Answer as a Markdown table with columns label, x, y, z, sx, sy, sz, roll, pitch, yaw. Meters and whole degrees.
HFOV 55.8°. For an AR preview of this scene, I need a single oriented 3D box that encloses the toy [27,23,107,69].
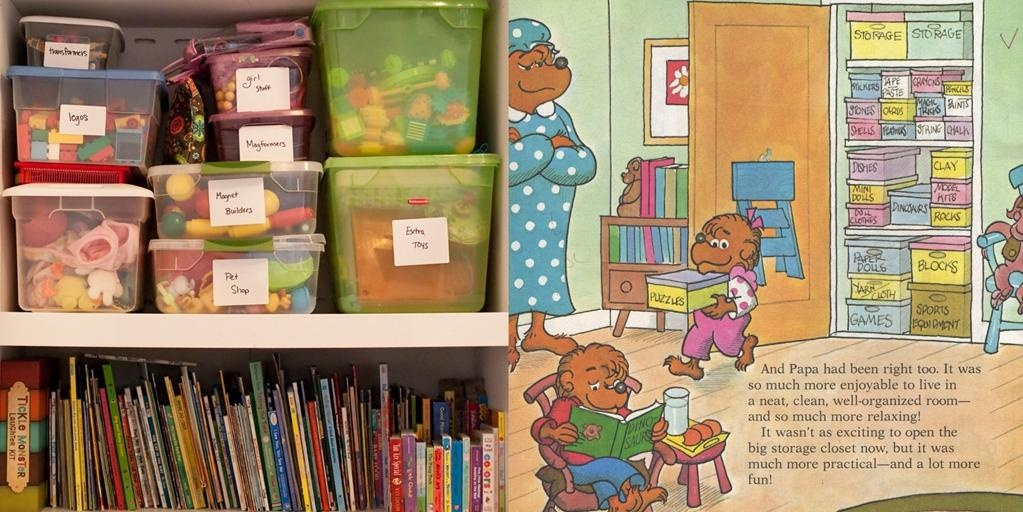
| label | x | y | z | sx | sy | sz | roll | pitch | yaw |
| --- | --- | --- | --- | --- | --- | --- | --- | --- | --- |
| toy | -1.579 | -0.758 | 3.408 | 0.300 | 0.125 | 0.181 | 0 | -8 | -8 |

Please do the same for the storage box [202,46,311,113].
| label | x | y | z | sx | sy | sz | roll | pitch | yaw |
| --- | --- | --- | --- | --- | --- | --- | --- | --- | --- |
| storage box | -0.906 | -0.633 | 3.511 | 0.355 | 0.138 | 0.238 | -3 | 3 | -2 |

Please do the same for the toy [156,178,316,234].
| label | x | y | z | sx | sy | sz | roll | pitch | yaw |
| --- | --- | --- | --- | --- | --- | --- | --- | --- | --- |
| toy | -0.979 | -0.163 | 3.440 | 0.388 | 0.114 | 0.252 | -1 | -2 | -6 |

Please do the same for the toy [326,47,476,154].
| label | x | y | z | sx | sy | sz | roll | pitch | yaw |
| --- | --- | --- | --- | --- | --- | --- | --- | --- | --- |
| toy | -0.411 | -0.555 | 3.514 | 0.568 | 0.305 | 0.345 | -2 | -2 | -4 |

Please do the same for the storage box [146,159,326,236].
| label | x | y | z | sx | sy | sz | roll | pitch | yaw |
| --- | --- | --- | --- | --- | --- | --- | --- | --- | --- |
| storage box | -0.968 | -0.199 | 3.443 | 0.468 | 0.158 | 0.317 | -2 | -2 | -8 |

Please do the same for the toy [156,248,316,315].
| label | x | y | z | sx | sy | sz | roll | pitch | yaw |
| --- | --- | --- | --- | --- | --- | --- | --- | --- | --- |
| toy | -0.970 | 0.085 | 3.438 | 0.407 | 0.139 | 0.278 | 0 | -4 | -7 |

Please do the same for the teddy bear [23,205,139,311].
| label | x | y | z | sx | sy | sz | roll | pitch | yaw |
| --- | --- | --- | --- | --- | --- | --- | --- | --- | --- |
| teddy bear | -1.523 | 0.023 | 3.599 | 0.424 | 0.331 | 0.389 | 0 | -2 | -7 |

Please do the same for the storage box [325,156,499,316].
| label | x | y | z | sx | sy | sz | roll | pitch | yaw |
| --- | --- | --- | --- | --- | --- | --- | --- | --- | --- |
| storage box | -0.318 | -0.071 | 3.621 | 0.718 | 0.422 | 0.529 | -1 | -2 | 1 |

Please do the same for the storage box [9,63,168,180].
| label | x | y | z | sx | sy | sz | roll | pitch | yaw |
| --- | --- | --- | --- | --- | --- | --- | --- | --- | --- |
| storage box | -1.501 | -0.495 | 3.436 | 0.538 | 0.275 | 0.334 | 0 | -2 | -5 |

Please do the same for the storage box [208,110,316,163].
| label | x | y | z | sx | sy | sz | roll | pitch | yaw |
| --- | --- | --- | --- | --- | --- | --- | --- | --- | --- |
| storage box | -0.871 | -0.431 | 3.491 | 0.227 | 0.121 | 0.278 | -1 | 2 | 2 |

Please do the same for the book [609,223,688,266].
| label | x | y | z | sx | sy | sz | roll | pitch | yaw |
| --- | --- | --- | --- | --- | --- | --- | --- | --- | --- |
| book | 0.487 | -0.040 | 3.444 | 0.264 | 0.137 | 0.016 | -2 | 4 | -3 |

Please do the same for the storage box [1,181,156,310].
| label | x | y | z | sx | sy | sz | roll | pitch | yaw |
| --- | --- | --- | --- | --- | --- | --- | --- | --- | --- |
| storage box | -1.460 | -0.031 | 3.600 | 0.727 | 0.500 | 0.438 | 0 | 1 | -1 |

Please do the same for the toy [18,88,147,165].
| label | x | y | z | sx | sy | sz | roll | pitch | yaw |
| --- | --- | --- | --- | --- | --- | --- | --- | --- | --- |
| toy | -1.468 | -0.446 | 3.346 | 0.413 | 0.173 | 0.248 | 0 | 0 | -9 |

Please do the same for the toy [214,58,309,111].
| label | x | y | z | sx | sy | sz | roll | pitch | yaw |
| --- | --- | --- | --- | --- | --- | --- | --- | --- | --- |
| toy | -0.901 | -0.619 | 3.500 | 0.294 | 0.124 | 0.193 | -3 | 2 | -9 |

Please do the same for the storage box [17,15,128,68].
| label | x | y | z | sx | sy | sz | roll | pitch | yaw |
| --- | --- | --- | --- | --- | --- | --- | --- | --- | --- |
| storage box | -1.573 | -0.766 | 3.479 | 0.344 | 0.132 | 0.225 | 0 | -5 | -6 |
